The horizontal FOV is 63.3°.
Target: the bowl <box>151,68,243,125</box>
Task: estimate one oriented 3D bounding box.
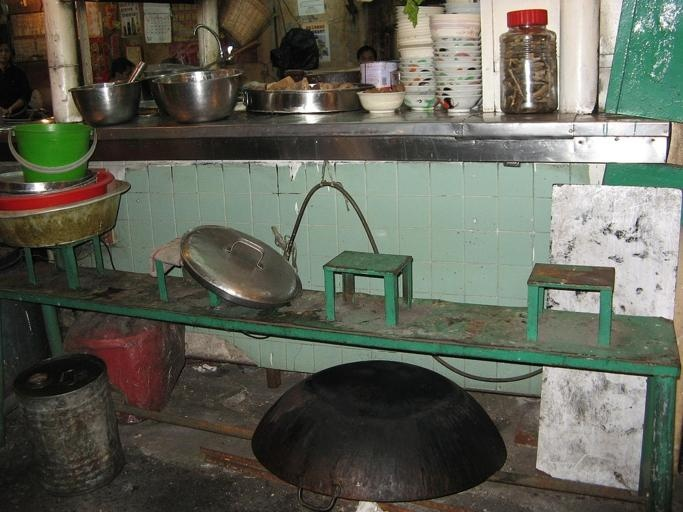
[{"bbox_3d":[-0.829,-0.915,3.341,0.477,0.189,0.459,-17,12,4],"label":"bowl"}]

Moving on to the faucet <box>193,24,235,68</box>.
[{"bbox_3d":[-0.895,-1.486,3.898,0.221,0.297,0.659,-7,18,-12],"label":"faucet"}]

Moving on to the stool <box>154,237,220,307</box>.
[{"bbox_3d":[-0.976,0.097,3.244,0.306,0.240,0.298,-16,-11,-44],"label":"stool"}]

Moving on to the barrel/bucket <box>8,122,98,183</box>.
[{"bbox_3d":[-1.590,-0.632,3.064,0.466,0.258,0.394,-4,19,-23],"label":"barrel/bucket"}]

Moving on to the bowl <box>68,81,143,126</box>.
[{"bbox_3d":[-1.518,-0.958,3.532,0.471,0.211,0.429,-4,21,2],"label":"bowl"}]

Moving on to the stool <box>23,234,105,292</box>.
[{"bbox_3d":[-1.801,0.033,3.435,0.450,0.244,0.393,6,1,2],"label":"stool"}]

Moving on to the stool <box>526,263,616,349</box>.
[{"bbox_3d":[1.043,0.176,2.533,0.437,0.271,0.400,3,14,20],"label":"stool"}]

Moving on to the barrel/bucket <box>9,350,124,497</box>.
[{"bbox_3d":[-1.551,0.974,3.181,0.611,0.759,0.551,-7,24,-15],"label":"barrel/bucket"}]

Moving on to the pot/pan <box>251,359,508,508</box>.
[{"bbox_3d":[0.161,0.827,2.695,1.233,0.369,0.678,2,18,13],"label":"pot/pan"}]

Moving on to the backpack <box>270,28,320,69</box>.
[{"bbox_3d":[-0.443,-2.010,5.386,0.418,0.327,0.566,14,29,22],"label":"backpack"}]

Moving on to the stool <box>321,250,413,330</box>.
[{"bbox_3d":[0.161,0.185,2.931,0.456,0.285,0.413,6,23,17],"label":"stool"}]
